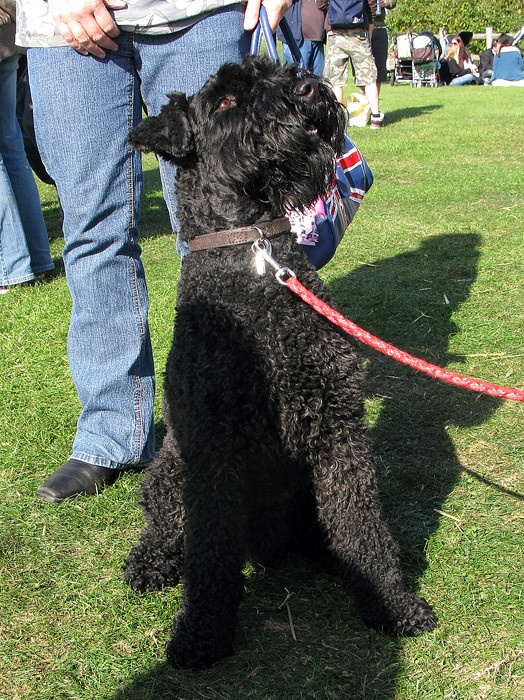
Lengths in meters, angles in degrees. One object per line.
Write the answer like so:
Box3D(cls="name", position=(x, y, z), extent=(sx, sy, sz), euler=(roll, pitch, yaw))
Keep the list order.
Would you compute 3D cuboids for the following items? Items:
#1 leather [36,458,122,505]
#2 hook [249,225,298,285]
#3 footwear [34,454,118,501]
Box3D(cls="leather", position=(-0.743, 0.520, 2.955), extent=(0.148, 0.093, 0.283), euler=(6, 5, 32))
Box3D(cls="hook", position=(0.020, -0.264, 2.112), extent=(0.080, 0.038, 0.190), euler=(-35, 55, -20))
Box3D(cls="footwear", position=(-0.744, 0.509, 2.947), extent=(0.145, 0.093, 0.279), euler=(7, 5, 31))
